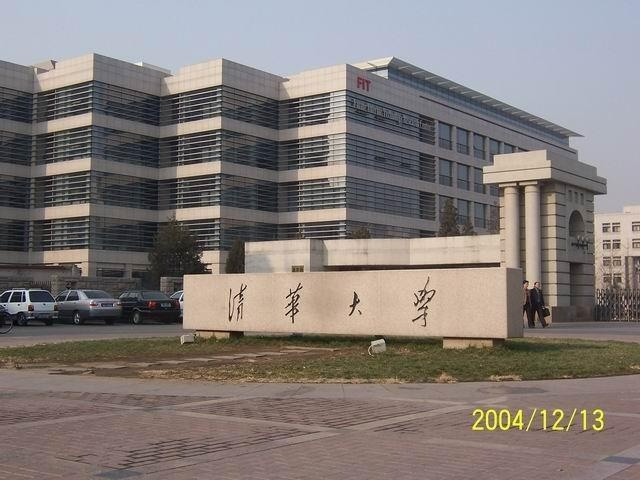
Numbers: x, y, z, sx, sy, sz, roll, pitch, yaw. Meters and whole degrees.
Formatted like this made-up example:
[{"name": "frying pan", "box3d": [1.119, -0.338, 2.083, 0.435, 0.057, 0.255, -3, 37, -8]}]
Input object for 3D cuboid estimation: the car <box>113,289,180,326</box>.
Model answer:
[{"name": "car", "box3d": [-8.186, 3.120, 44.004, 1.413, 0.802, 3.217, 4, -3, -43]}]
